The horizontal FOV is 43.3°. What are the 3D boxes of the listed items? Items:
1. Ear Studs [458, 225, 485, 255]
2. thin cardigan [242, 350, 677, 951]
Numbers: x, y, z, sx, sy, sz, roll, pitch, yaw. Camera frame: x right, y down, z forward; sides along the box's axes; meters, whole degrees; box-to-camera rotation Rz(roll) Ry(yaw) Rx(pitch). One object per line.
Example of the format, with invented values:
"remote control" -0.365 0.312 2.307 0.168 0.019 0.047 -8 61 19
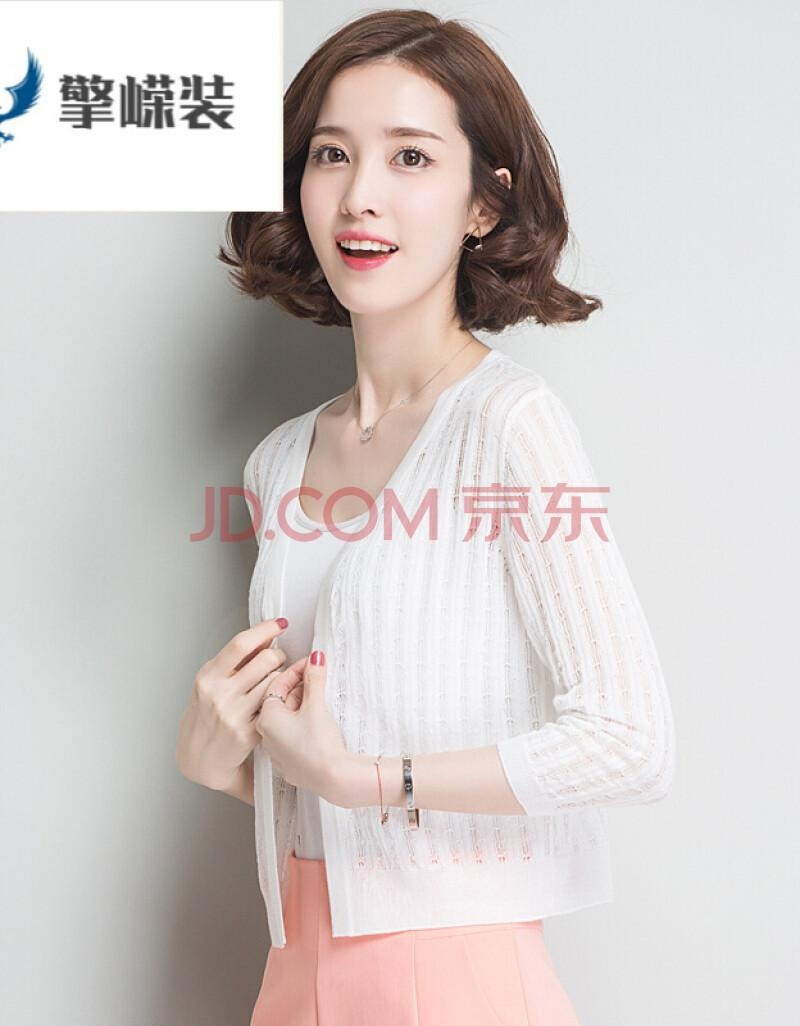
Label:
"Ear Studs" 0.098 -0.360 1.326 0.023 0.027 0.025 0 -8 2
"thin cardigan" 0.034 0.160 1.153 0.472 0.612 0.453 -6 19 3
